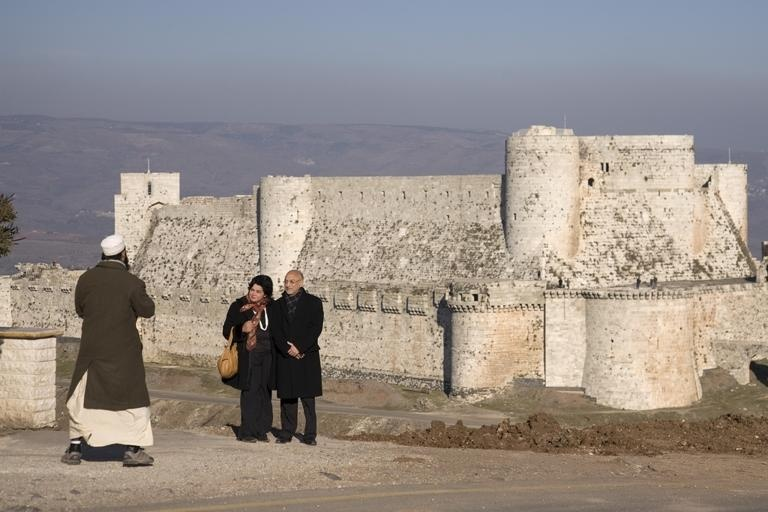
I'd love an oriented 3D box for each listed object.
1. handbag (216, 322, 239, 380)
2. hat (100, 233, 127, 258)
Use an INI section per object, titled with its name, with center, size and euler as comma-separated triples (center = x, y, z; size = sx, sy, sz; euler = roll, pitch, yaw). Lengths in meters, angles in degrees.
[handbag]
center = -5.618, 3.450, 56.927
size = 0.671, 1.930, 0.539
euler = 7, 9, 43
[hat]
center = -9.438, -0.355, 55.052
size = 0.821, 0.406, 0.738
euler = -5, 42, -6
